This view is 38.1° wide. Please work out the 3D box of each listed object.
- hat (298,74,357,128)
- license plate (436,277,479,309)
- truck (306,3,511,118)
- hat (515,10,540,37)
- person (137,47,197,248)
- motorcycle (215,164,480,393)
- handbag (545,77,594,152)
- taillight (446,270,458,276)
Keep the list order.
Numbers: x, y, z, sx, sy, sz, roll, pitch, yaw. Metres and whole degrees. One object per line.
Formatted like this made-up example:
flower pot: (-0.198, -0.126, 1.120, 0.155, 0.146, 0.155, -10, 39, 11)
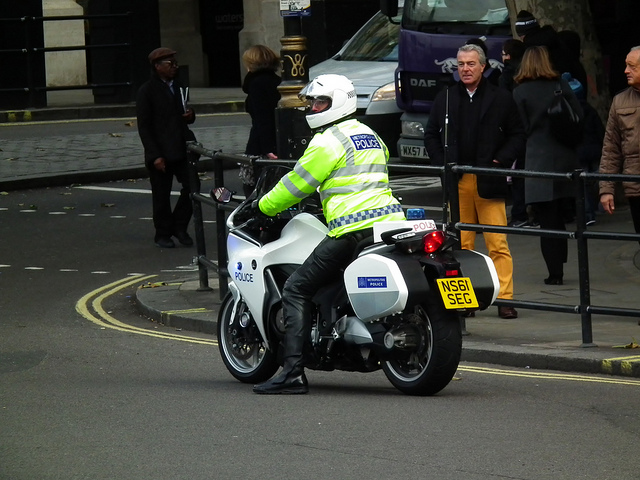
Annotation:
hat: (0.087, -1.028, 6.833, 0.464, 0.332, 0.326, -6, 6, -26)
license plate: (0.935, 0.350, 6.273, 0.014, 0.220, 0.332, -20, 6, -34)
truck: (1.215, -3.241, 15.677, 4.171, 1.841, 2.262, -3, 7, -29)
hat: (2.696, -2.828, 12.063, 0.279, 0.339, 0.845, -1, 9, 12)
person: (-2.094, -1.266, 12.794, 0.738, 2.700, 0.602, -2, 10, 5)
motorcycle: (-0.042, 0.312, 7.157, 1.014, 1.567, 2.750, -3, 0, -40)
handbag: (2.581, -1.301, 9.708, 0.471, 0.754, 0.281, -10, 12, -36)
taillight: (0.902, 0.217, 6.336, 0.072, 0.033, 0.016, -6, 9, -18)
